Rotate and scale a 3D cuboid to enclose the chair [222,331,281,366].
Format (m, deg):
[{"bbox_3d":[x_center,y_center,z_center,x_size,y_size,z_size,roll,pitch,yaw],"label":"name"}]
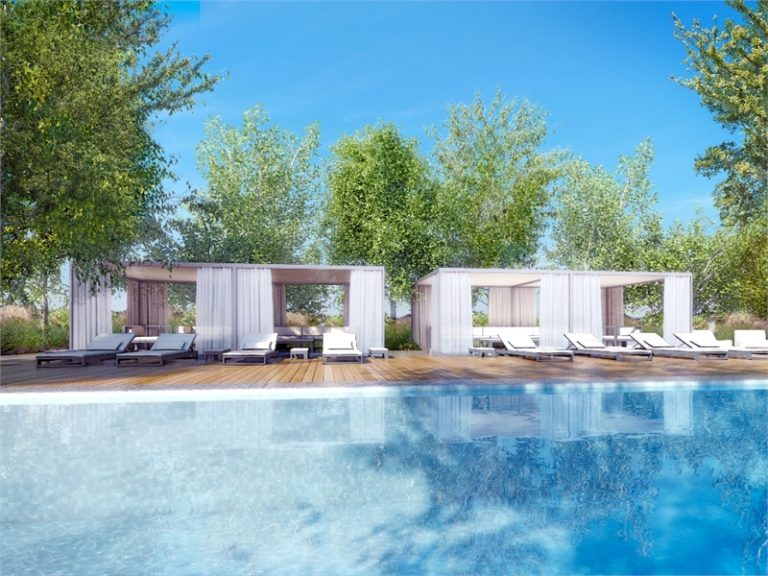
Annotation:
[{"bbox_3d":[-3.564,1.813,17.702,1.222,0.943,2.297,-1,14,-8],"label":"chair"}]

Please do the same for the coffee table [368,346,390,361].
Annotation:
[{"bbox_3d":[-0.181,1.836,19.147,0.556,0.387,1.056,0,14,-4],"label":"coffee table"}]

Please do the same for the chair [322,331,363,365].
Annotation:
[{"bbox_3d":[-1.177,1.525,17.633,0.681,0.671,1.014,0,-10,-5],"label":"chair"}]
